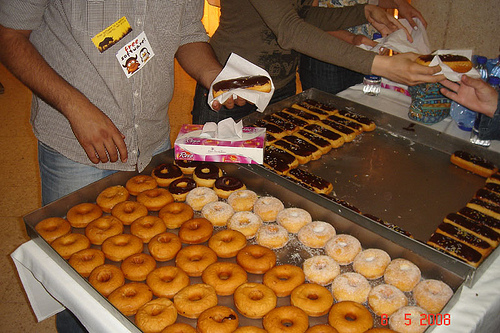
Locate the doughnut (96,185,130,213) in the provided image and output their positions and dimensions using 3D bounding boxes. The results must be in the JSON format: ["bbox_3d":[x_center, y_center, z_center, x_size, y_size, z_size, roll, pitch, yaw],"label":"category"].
[{"bbox_3d":[-0.943,0.224,2.507,0.183,0.054,0.181,-2,41,-4],"label":"doughnut"}]

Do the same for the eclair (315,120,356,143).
[{"bbox_3d":[0.769,-0.325,3.259,0.324,0.100,0.161,29,49,28],"label":"eclair"}]

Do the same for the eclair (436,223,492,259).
[{"bbox_3d":[1.394,0.465,2.359,0.264,0.083,0.166,27,39,30],"label":"eclair"}]

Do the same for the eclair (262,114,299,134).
[{"bbox_3d":[0.285,-0.389,3.290,0.326,0.085,0.150,32,57,24],"label":"eclair"}]

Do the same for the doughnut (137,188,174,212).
[{"bbox_3d":[-0.663,0.226,2.541,0.172,0.060,0.171,7,22,12],"label":"doughnut"}]

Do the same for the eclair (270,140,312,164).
[{"bbox_3d":[0.354,-0.128,3.075,0.332,0.101,0.153,26,49,30],"label":"eclair"}]

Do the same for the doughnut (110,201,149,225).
[{"bbox_3d":[-0.823,0.307,2.448,0.180,0.056,0.170,-3,26,-22],"label":"doughnut"}]

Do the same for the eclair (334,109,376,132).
[{"bbox_3d":[0.969,-0.457,3.354,0.360,0.115,0.168,27,48,28],"label":"eclair"}]

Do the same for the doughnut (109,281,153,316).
[{"bbox_3d":[-0.682,0.755,2.064,0.247,0.084,0.243,6,13,-9],"label":"doughnut"}]

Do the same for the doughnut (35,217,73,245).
[{"bbox_3d":[-1.258,0.403,2.300,0.198,0.063,0.200,31,32,21],"label":"doughnut"}]

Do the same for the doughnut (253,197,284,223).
[{"bbox_3d":[0.154,0.274,2.557,0.212,0.071,0.211,-6,51,27],"label":"doughnut"}]

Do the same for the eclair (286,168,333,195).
[{"bbox_3d":[0.462,0.095,2.788,0.326,0.096,0.159,25,36,32],"label":"eclair"}]

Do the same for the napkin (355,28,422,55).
[{"bbox_3d":[1.243,-1.096,3.264,0.433,0.133,0.456,32,52,29],"label":"napkin"}]

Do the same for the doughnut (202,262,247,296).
[{"bbox_3d":[-0.154,0.678,2.175,0.266,0.090,0.256,-3,22,-15],"label":"doughnut"}]

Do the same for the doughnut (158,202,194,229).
[{"bbox_3d":[-0.516,0.331,2.503,0.235,0.084,0.230,16,33,8],"label":"doughnut"}]

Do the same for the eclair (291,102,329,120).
[{"bbox_3d":[0.584,-0.544,3.462,0.308,0.080,0.154,26,38,23],"label":"eclair"}]

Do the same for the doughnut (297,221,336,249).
[{"bbox_3d":[0.457,0.446,2.410,0.249,0.073,0.245,-27,30,-36],"label":"doughnut"}]

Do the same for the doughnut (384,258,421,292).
[{"bbox_3d":[0.940,0.635,2.163,0.219,0.084,0.210,-15,32,16],"label":"doughnut"}]

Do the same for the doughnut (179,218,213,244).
[{"bbox_3d":[-0.362,0.432,2.422,0.246,0.088,0.245,0,25,0],"label":"doughnut"}]

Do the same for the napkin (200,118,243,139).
[{"bbox_3d":[-0.199,-0.267,2.589,0.222,0.071,0.165,4,34,2],"label":"napkin"}]

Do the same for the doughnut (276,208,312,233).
[{"bbox_3d":[0.305,0.355,2.493,0.226,0.074,0.224,5,35,15],"label":"doughnut"}]

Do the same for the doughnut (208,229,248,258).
[{"bbox_3d":[-0.140,0.503,2.346,0.227,0.079,0.222,-7,28,-12],"label":"doughnut"}]

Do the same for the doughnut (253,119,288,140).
[{"bbox_3d":[0.184,-0.337,3.231,0.294,0.075,0.137,33,40,18],"label":"doughnut"}]

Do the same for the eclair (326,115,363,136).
[{"bbox_3d":[0.858,-0.399,3.309,0.316,0.087,0.148,29,50,23],"label":"eclair"}]

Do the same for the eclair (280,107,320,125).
[{"bbox_3d":[0.477,-0.489,3.405,0.316,0.091,0.146,23,47,20],"label":"eclair"}]

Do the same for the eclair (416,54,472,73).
[{"bbox_3d":[1.508,-0.805,2.805,0.379,0.118,0.184,7,28,12],"label":"eclair"}]

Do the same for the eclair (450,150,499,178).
[{"bbox_3d":[1.765,-0.017,2.886,0.323,0.094,0.163,30,52,32],"label":"eclair"}]

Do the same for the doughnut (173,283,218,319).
[{"bbox_3d":[-0.301,0.743,2.017,0.181,0.059,0.174,-2,21,-4],"label":"doughnut"}]

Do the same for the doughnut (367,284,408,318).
[{"bbox_3d":[0.806,0.782,2.087,0.238,0.093,0.247,6,19,36],"label":"doughnut"}]

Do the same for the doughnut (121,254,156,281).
[{"bbox_3d":[-0.692,0.608,2.197,0.173,0.057,0.172,29,31,20],"label":"doughnut"}]

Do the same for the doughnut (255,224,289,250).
[{"bbox_3d":[0.144,0.459,2.409,0.217,0.075,0.230,18,27,36],"label":"doughnut"}]

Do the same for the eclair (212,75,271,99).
[{"bbox_3d":[-0.062,-0.581,2.527,0.362,0.114,0.170,-6,28,0],"label":"eclair"}]

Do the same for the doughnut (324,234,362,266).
[{"bbox_3d":[0.592,0.520,2.278,0.194,0.063,0.188,-15,37,-10],"label":"doughnut"}]

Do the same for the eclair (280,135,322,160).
[{"bbox_3d":[0.430,-0.184,3.101,0.344,0.100,0.160,30,47,23],"label":"eclair"}]

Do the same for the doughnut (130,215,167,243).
[{"bbox_3d":[-0.682,0.410,2.408,0.229,0.079,0.224,14,31,2],"label":"doughnut"}]

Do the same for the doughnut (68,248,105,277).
[{"bbox_3d":[-0.977,0.568,2.167,0.160,0.052,0.156,0,23,-3],"label":"doughnut"}]

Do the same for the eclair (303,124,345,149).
[{"bbox_3d":[0.643,-0.290,3.205,0.352,0.102,0.164,32,49,26],"label":"eclair"}]

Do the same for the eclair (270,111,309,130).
[{"bbox_3d":[0.373,-0.440,3.350,0.318,0.082,0.148,26,48,20],"label":"eclair"}]

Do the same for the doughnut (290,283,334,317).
[{"bbox_3d":[0.365,0.788,2.109,0.266,0.088,0.284,1,8,30],"label":"doughnut"}]

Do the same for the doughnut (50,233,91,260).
[{"bbox_3d":[-1.119,0.494,2.254,0.186,0.061,0.190,24,34,30],"label":"doughnut"}]

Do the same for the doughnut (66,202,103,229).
[{"bbox_3d":[-1.114,0.328,2.431,0.237,0.074,0.235,12,27,5],"label":"doughnut"}]

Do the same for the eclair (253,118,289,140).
[{"bbox_3d":[0.177,-0.340,3.238,0.309,0.088,0.145,34,42,18],"label":"eclair"}]

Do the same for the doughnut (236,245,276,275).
[{"bbox_3d":[0.043,0.587,2.267,0.236,0.084,0.236,-13,28,-35],"label":"doughnut"}]

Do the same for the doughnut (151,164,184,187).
[{"bbox_3d":[-0.616,0.081,2.800,0.258,0.093,0.258,-23,-14,37],"label":"doughnut"}]

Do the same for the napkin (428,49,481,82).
[{"bbox_3d":[1.558,-0.720,2.811,0.344,0.120,0.340,9,52,14],"label":"napkin"}]

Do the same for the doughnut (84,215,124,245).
[{"bbox_3d":[-0.947,0.403,2.334,0.190,0.062,0.188,3,29,1],"label":"doughnut"}]
